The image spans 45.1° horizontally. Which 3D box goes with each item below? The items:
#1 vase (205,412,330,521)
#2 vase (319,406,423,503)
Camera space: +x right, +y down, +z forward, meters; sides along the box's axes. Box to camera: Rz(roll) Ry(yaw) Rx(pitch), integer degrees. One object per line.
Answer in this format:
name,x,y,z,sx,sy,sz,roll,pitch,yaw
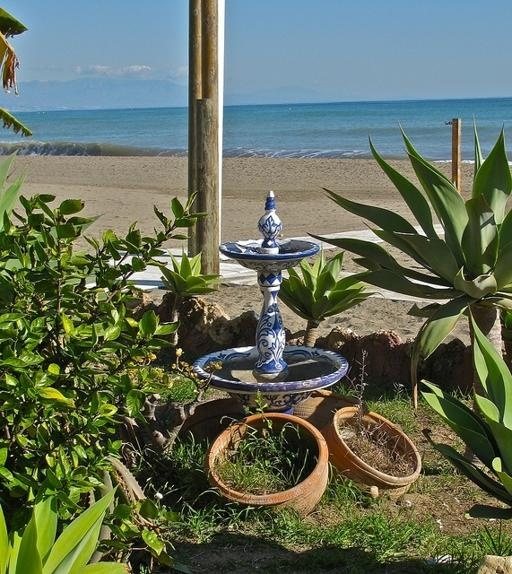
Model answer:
vase,0.054,0.833,2.869,0.545,0.301,0.543,-1,14,1
vase,0.578,0.826,3.070,0.470,0.349,0.464,2,14,15
